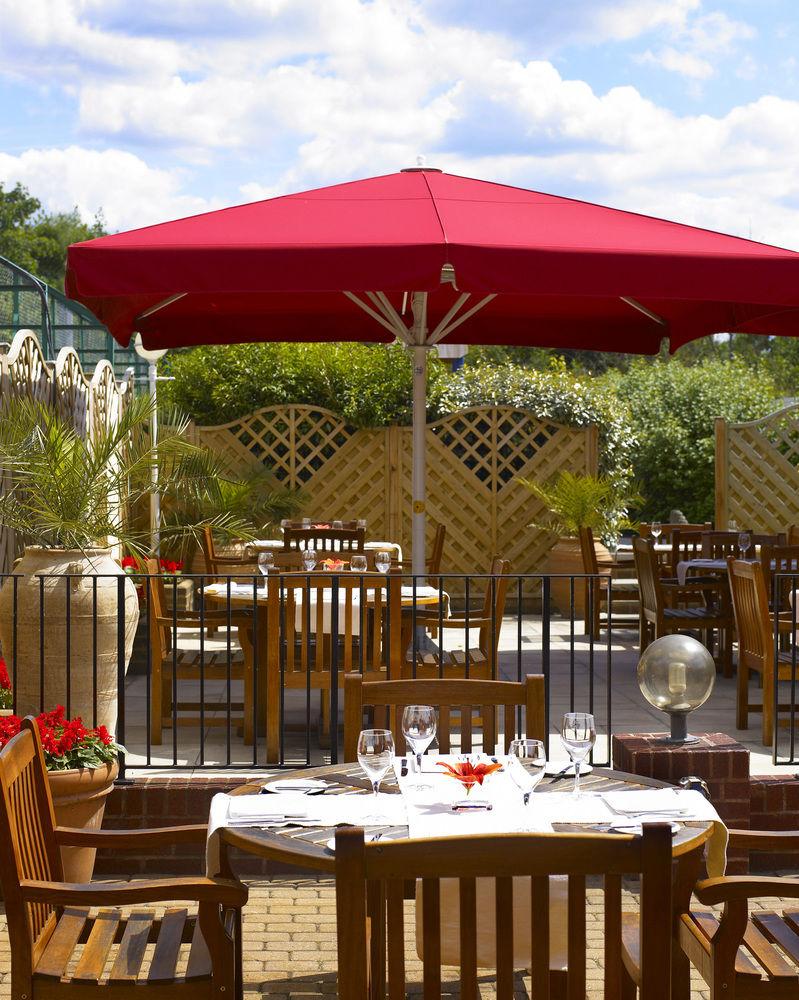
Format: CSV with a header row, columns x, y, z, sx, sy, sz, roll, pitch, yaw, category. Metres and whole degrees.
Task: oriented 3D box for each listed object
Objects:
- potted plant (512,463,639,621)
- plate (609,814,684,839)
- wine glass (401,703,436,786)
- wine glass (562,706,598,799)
x,y,z,sx,sy,sz,roll,pitch,yaw,category
1.312,0.301,10.054,0.705,1.169,0.682,16,2,-18,potted plant
0.459,0.606,2.394,0.139,0.016,0.138,-1,-1,5,plate
0.040,0.526,2.712,0.072,0.218,0.075,0,20,0,wine glass
0.377,0.526,2.725,0.067,0.170,0.286,0,-1,8,wine glass
